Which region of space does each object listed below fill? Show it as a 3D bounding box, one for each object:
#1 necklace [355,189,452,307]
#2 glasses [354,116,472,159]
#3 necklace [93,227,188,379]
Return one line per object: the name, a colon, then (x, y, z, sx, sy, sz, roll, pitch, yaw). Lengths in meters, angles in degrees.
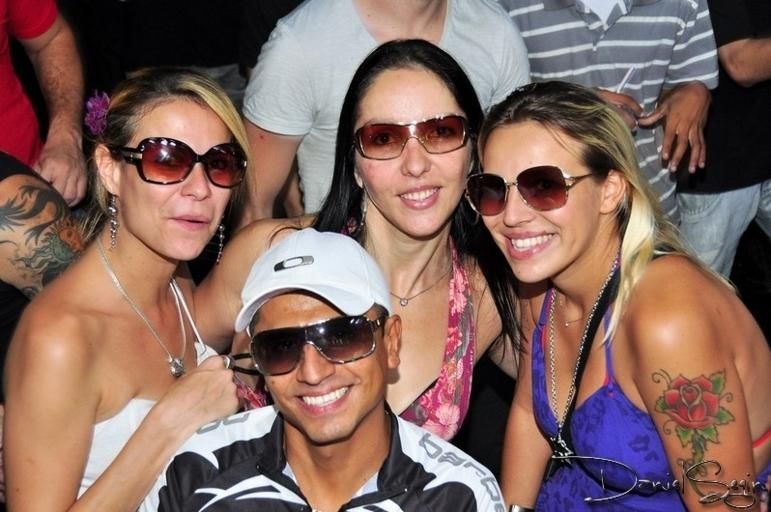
necklace: (0.170, -0.028, 4.320, 0.608, 0.674, 0.160, 1, -4, 11)
glasses: (0.153, -0.691, 4.041, 0.659, 0.244, 0.106, -2, -1, -2)
necklace: (-1.354, 0.284, 3.922, 0.185, 0.809, 0.436, -18, 9, 31)
